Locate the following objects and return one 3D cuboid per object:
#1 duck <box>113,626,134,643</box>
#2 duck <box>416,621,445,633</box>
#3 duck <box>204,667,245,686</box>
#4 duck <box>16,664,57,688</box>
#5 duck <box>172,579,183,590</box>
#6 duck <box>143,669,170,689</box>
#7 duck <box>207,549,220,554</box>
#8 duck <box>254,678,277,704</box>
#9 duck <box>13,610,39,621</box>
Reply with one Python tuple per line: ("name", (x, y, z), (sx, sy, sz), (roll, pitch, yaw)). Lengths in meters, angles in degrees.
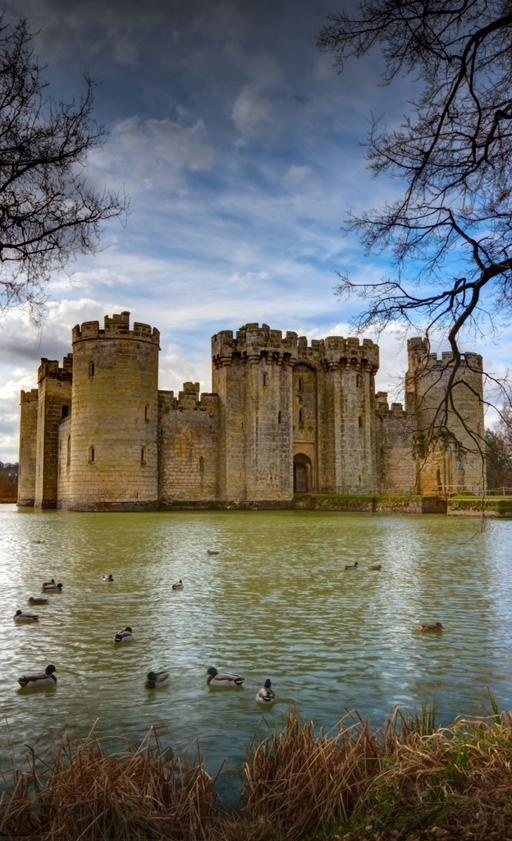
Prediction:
("duck", (-1.628, 2.642, 8.515), (0.090, 0.136, 0.283), (-2, 2, 12))
("duck", (2.241, 2.678, 8.923), (0.212, 0.088, 0.160), (1, -8, -6))
("duck", (-0.316, 2.516, 6.803), (0.318, 0.209, 0.159), (-3, -18, 14))
("duck", (-2.171, 2.550, 6.895), (0.350, 0.265, 0.181), (5, -22, -19))
("duck", (-1.372, 2.878, 12.141), (0.136, 0.117, 0.197), (1, -2, 11))
("duck", (-0.971, 2.532, 6.803), (0.225, 0.145, 0.261), (0, -5, -8))
("duck", (-1.099, 3.290, 17.391), (0.233, 0.078, 0.237), (1, -4, 7))
("duck", (0.090, 2.515, 6.476), (0.176, 0.162, 0.386), (-1, -5, 1))
("duck", (-3.240, 2.789, 9.812), (0.311, 0.144, 0.151), (6, -11, 13))
